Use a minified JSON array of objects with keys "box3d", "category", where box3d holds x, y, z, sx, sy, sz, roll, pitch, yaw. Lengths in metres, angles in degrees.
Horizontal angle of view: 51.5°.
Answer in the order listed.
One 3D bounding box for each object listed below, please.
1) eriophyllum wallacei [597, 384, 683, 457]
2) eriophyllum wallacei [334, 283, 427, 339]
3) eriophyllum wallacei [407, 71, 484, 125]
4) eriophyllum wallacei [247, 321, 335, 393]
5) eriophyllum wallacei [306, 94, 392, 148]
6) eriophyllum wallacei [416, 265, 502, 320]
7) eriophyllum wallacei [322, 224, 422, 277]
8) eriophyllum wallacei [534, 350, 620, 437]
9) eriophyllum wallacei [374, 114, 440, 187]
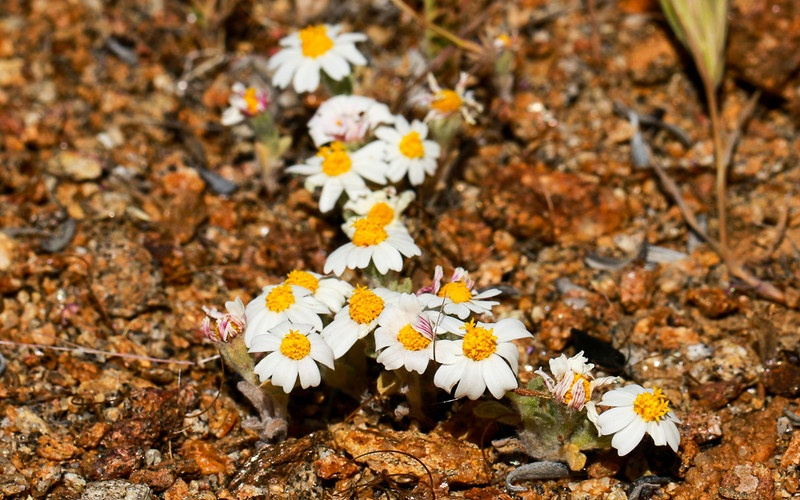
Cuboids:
[{"box3d":[1.315,0.896,4.343,0.406,0.216,0.432,-7,-1,-14],"category":"eriophyllum wallacei"},{"box3d":[-0.175,0.308,4.356,0.450,0.232,0.453,-8,10,-10],"category":"eriophyllum wallacei"},{"box3d":[0.295,-0.896,5.115,0.372,0.394,0.158,-1,-24,-30],"category":"eriophyllum wallacei"},{"box3d":[-0.586,0.542,4.369,0.461,0.238,0.463,18,24,30],"category":"eriophyllum wallacei"},{"box3d":[-0.273,-0.749,4.925,0.470,0.209,0.513,12,9,-29],"category":"eriophyllum wallacei"},{"box3d":[0.329,0.201,4.446,0.422,0.195,0.431,-9,-6,-15],"category":"eriophyllum wallacei"},{"box3d":[-0.118,0.005,4.487,0.380,0.254,0.389,-1,-11,4],"category":"eriophyllum wallacei"},{"box3d":[0.871,0.701,4.267,0.314,0.170,0.329,-1,7,31],"category":"eriophyllum wallacei"},{"box3d":[0.055,-0.596,4.880,0.353,0.147,0.341,-20,14,23],"category":"eriophyllum wallacei"}]
